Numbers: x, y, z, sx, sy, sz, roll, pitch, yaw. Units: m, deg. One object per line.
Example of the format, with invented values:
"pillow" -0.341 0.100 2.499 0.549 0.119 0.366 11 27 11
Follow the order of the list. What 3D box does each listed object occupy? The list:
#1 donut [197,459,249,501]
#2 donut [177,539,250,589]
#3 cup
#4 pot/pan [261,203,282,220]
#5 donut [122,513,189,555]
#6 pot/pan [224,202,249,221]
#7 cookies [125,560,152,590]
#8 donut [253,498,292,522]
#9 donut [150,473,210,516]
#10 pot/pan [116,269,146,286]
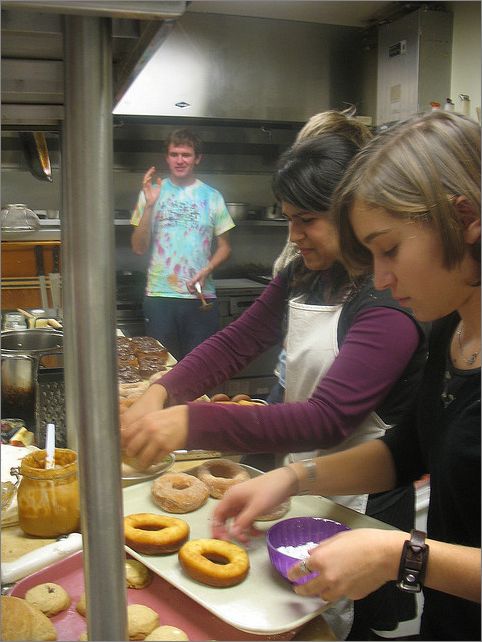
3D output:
"donut" -0.035 0.320 1.122 0.079 0.024 0.071 6 12 -11
"donut" -0.036 0.358 0.820 0.104 0.036 0.109 0 4 23
"cup" -0.316 0.289 0.892 0.103 0.131 0.072 1 5 40
"pot/pan" 0.256 -0.903 4.558 0.127 0.104 0.170 4 6 37
"donut" -0.141 0.344 0.890 0.110 0.039 0.107 -1 4 10
"pot/pan" -0.036 -0.871 4.352 0.171 0.094 0.156 3 25 8
"cookies" -0.153 0.377 0.819 0.034 0.025 0.057 -2 4 -10
"donut" 0.052 0.333 0.982 0.047 0.025 0.045 -3 1 18
"donut" -0.115 0.321 1.023 0.070 0.020 0.066 5 10 13
"pot/pan" -0.844 -0.319 4.197 0.270 0.099 0.245 -1 4 -3
